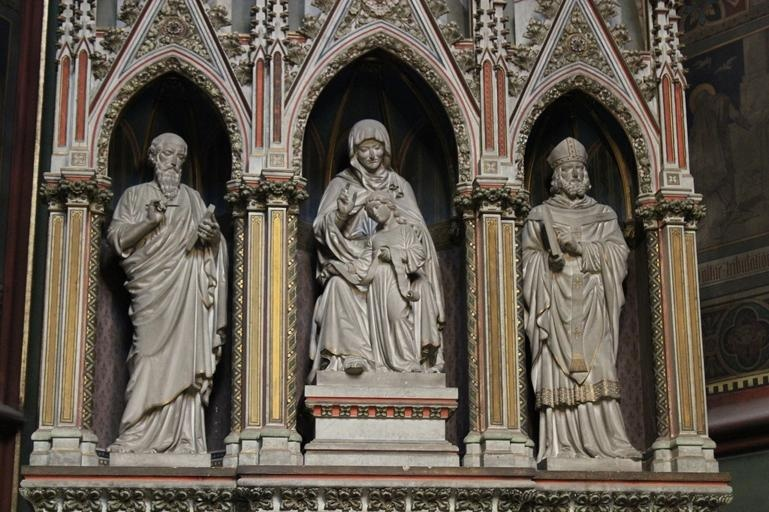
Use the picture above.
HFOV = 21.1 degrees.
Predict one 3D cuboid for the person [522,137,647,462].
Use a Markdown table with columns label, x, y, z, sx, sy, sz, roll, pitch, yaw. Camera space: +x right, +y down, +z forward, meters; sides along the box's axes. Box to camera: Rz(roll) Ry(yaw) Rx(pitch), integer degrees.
| label | x | y | z | sx | sy | sz | roll | pitch | yaw |
| --- | --- | --- | --- | --- | --- | --- | --- | --- | --- |
| person | 1.698 | 0.390 | 18.218 | 0.943 | 2.990 | 0.366 | -4 | -18 | 5 |

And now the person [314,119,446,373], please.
| label | x | y | z | sx | sy | sz | roll | pitch | yaw |
| --- | --- | --- | --- | --- | --- | --- | --- | --- | --- |
| person | -0.067 | -0.046 | 18.198 | 1.193 | 2.267 | 0.734 | -2 | -3 | -3 |
